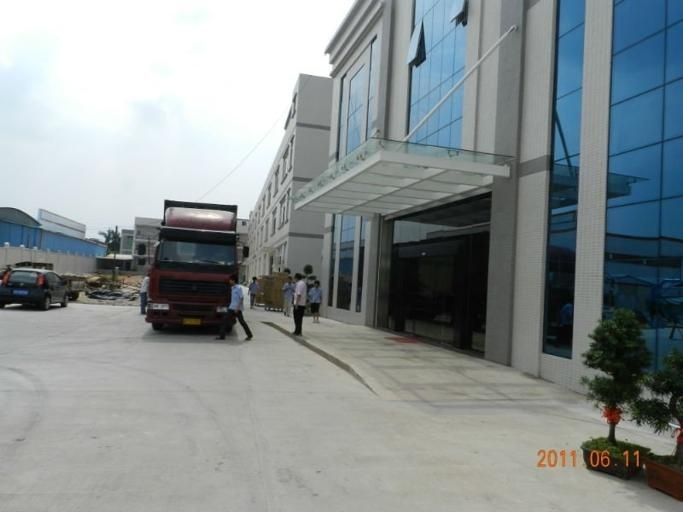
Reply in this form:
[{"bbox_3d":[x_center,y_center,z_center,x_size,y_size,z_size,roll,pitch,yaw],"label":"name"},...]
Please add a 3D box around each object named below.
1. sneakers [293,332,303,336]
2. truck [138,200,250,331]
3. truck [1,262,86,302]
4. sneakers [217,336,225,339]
[{"bbox_3d":[-1.424,2.514,17.163,0.274,0.198,0.095,12,-9,-10],"label":"sneakers"},{"bbox_3d":[-4.465,0.214,16.098,2.813,4.254,7.952,3,-8,-14],"label":"truck"},{"bbox_3d":[-16.397,1.312,29.948,5.414,2.835,3.027,0,-2,1],"label":"truck"},{"bbox_3d":[-3.599,2.445,15.873,0.197,0.107,0.220,6,-5,-13],"label":"sneakers"}]
